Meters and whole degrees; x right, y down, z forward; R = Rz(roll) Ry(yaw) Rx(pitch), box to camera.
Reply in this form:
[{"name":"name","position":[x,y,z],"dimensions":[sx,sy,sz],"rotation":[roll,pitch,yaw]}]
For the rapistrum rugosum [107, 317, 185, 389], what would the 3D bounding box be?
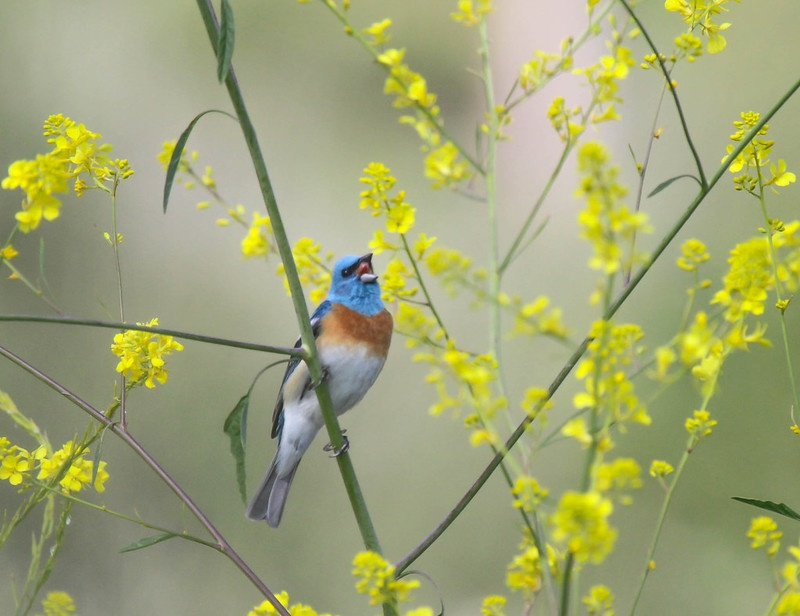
[{"name":"rapistrum rugosum","position":[-0.879,0.151,3.033],"dimensions":[0.208,0.224,0.217],"rotation":[14,-82,15]}]
